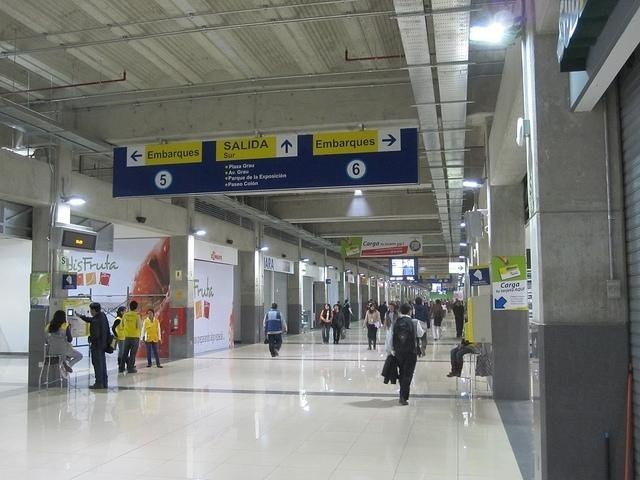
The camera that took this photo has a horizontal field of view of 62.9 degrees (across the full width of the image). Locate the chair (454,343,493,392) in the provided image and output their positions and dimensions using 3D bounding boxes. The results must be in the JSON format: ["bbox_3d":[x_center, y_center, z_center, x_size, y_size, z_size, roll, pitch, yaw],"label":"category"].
[{"bbox_3d":[3.253,2.656,11.364,0.806,1.064,3.100,-2,-6,15],"label":"chair"}]

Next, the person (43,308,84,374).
[{"bbox_3d":[-5.641,2.214,11.508,0.688,1.363,0.540,3,-6,-30],"label":"person"}]

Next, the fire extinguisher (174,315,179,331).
[{"bbox_3d":[-4.884,2.773,17.690,0.236,0.459,0.038,-2,-5,17],"label":"fire extinguisher"}]

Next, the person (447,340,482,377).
[{"bbox_3d":[3.025,2.575,11.411,0.816,1.005,0.595,1,-4,7],"label":"person"}]
